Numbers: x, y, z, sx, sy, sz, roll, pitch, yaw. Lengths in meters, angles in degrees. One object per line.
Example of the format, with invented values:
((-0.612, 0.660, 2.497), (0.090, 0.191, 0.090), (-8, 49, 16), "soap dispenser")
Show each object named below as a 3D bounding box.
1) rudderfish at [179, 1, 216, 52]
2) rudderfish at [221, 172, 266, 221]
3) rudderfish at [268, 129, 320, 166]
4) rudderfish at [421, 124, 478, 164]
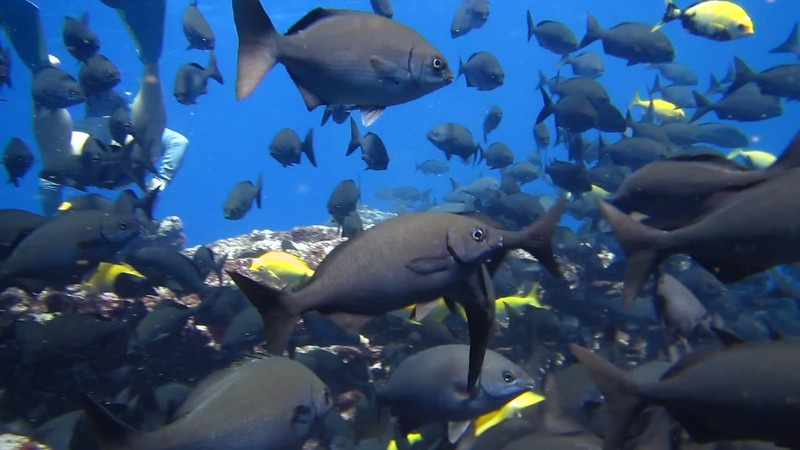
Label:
((-4.597, -4.540, 15.172), (0.725, 0.998, 0.549), (3, 8, -18), "rudderfish")
((-3.425, -0.538, 14.446), (0.775, 0.875, 0.410), (4, 7, -5), "rudderfish")
((-2.282, -1.585, 13.852), (1.311, 0.741, 0.254), (-2, 4, -44), "rudderfish")
((1.178, -1.824, 14.650), (1.106, 0.757, 0.658), (5, 7, 5), "rudderfish")
